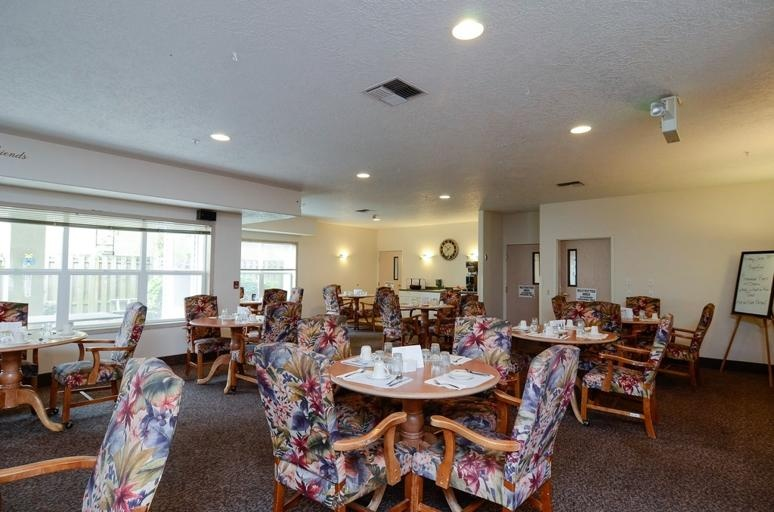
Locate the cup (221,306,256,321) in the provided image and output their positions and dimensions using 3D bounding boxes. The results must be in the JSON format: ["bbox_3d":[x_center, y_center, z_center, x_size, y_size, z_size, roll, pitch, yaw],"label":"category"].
[{"bbox_3d":[-2.244,0.925,7.250,0.471,0.159,0.336,2,-2,-22],"label":"cup"}]

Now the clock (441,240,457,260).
[{"bbox_3d":[1.670,-0.143,12.871,0.054,0.459,0.499,3,-11,-37],"label":"clock"}]

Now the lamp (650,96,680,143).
[{"bbox_3d":[3.007,-1.472,5.131,0.223,0.429,0.504,-3,-3,45],"label":"lamp"}]

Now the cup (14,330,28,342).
[{"bbox_3d":[-4.189,0.938,5.478,0.115,0.082,0.111,-3,-13,-1],"label":"cup"}]

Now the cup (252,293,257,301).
[{"bbox_3d":[-3.073,0.971,10.991,0.105,0.099,0.187,16,-2,-18],"label":"cup"}]
